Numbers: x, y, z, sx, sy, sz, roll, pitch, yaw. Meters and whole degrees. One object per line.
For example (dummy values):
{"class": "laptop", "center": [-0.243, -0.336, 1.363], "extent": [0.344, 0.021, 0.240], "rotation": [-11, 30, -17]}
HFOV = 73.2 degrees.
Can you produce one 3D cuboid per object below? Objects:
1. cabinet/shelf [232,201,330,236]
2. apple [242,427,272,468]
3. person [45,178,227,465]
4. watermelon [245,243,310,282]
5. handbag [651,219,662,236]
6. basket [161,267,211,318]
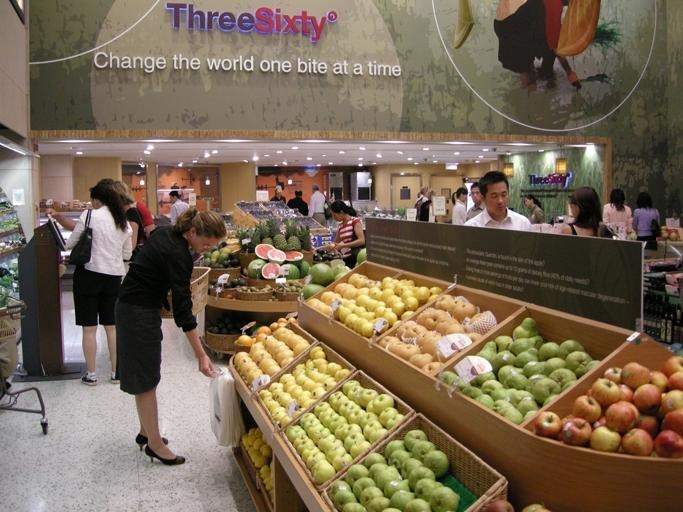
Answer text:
{"class": "cabinet/shelf", "center": [-1.195, -0.754, 9.006], "extent": [0.848, 0.412, 1.219], "rotation": [-1, 12, -29]}
{"class": "apple", "center": [-0.594, 1.323, 3.222], "extent": [0.087, 0.160, 0.291], "rotation": [10, 36, -29]}
{"class": "person", "center": [-1.181, 0.634, 3.194], "extent": [0.728, 1.906, 0.342], "rotation": [3, 6, 19]}
{"class": "watermelon", "center": [-0.764, 0.086, 5.371], "extent": [0.531, 0.275, 0.438], "rotation": [2, -1, 21]}
{"class": "handbag", "center": [5.825, -0.514, 8.536], "extent": [0.081, 0.351, 0.122], "rotation": [-14, 23, 15]}
{"class": "basket", "center": [-1.706, 0.423, 5.074], "extent": [0.526, 0.386, 0.830], "rotation": [-18, 6, -6]}
